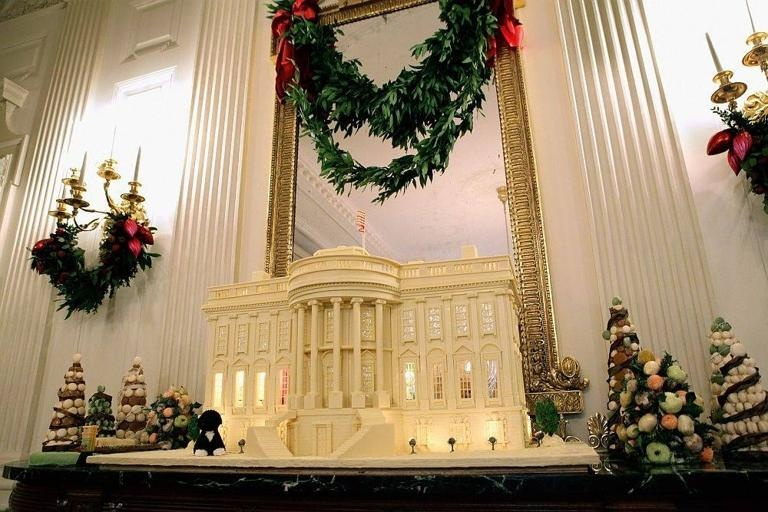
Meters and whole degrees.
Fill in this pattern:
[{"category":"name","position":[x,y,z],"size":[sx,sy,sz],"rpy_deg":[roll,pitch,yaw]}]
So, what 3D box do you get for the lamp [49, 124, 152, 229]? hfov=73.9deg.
[{"category":"lamp","position":[-3.928,-1.139,7.267],"size":[1.060,1.120,1.103],"rpy_deg":[-1,-2,45]}]
